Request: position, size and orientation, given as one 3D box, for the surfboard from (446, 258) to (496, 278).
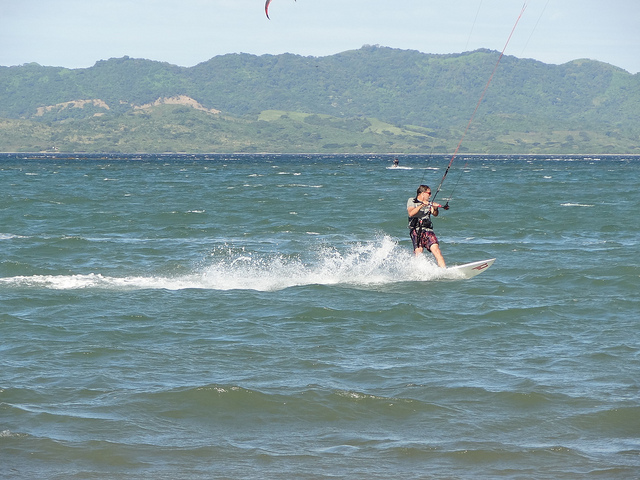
[{"bbox_3d":[4.030,0.685,28.943,1.106,0.592,0.590,-8,27,-34],"label":"surfboard"}]
